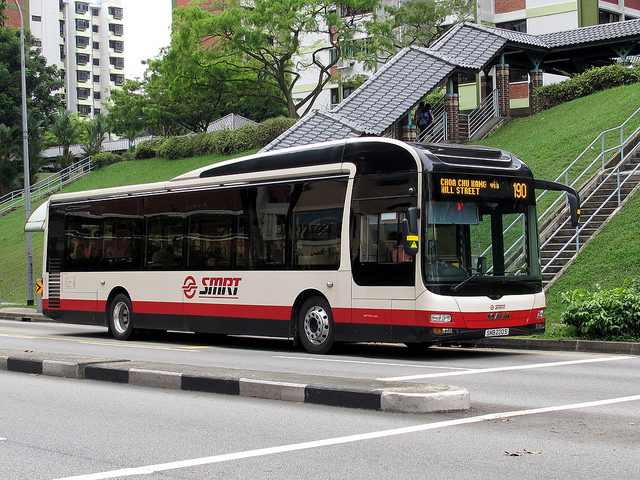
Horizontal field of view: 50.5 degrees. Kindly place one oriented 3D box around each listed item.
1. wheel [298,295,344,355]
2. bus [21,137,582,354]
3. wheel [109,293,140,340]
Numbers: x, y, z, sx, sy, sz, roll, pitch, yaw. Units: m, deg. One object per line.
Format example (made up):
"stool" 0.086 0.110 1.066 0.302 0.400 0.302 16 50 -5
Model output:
"wheel" -0.097 1.805 14.540 0.288 1.244 1.046 -3 1 -33
"bus" -1.818 0.278 17.780 14.672 4.846 3.971 -1 1 37
"wheel" -5.320 2.128 18.749 1.271 1.347 0.457 12 6 41
